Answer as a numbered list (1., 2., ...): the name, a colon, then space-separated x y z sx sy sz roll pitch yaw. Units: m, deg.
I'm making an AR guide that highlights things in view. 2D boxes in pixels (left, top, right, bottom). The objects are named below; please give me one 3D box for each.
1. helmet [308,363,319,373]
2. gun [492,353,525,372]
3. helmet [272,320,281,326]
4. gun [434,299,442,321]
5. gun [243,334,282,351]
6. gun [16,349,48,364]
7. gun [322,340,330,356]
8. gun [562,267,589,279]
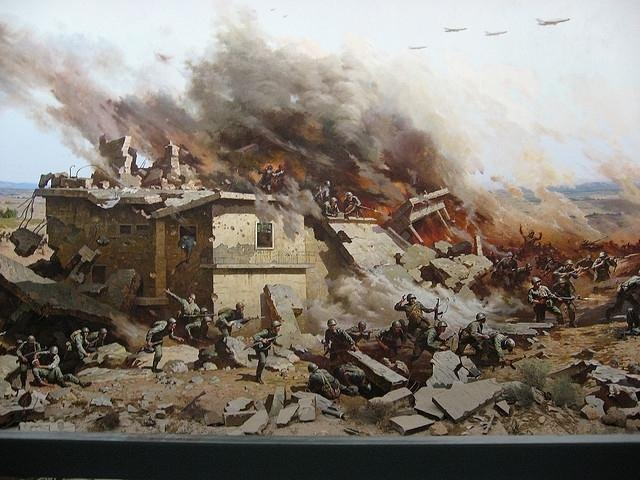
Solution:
1. helmet: -0.122 2.304 8.834 0.146 0.147 0.182 -1 18 8
2. gun: 3.477 2.251 9.010 0.405 0.131 0.297 -15 7 -2
3. helmet: -0.796 1.532 9.024 0.086 0.085 0.104 19 -49 -8
4. gun: 2.273 1.324 9.406 0.120 0.325 0.194 7 -14 -6
5. gun: -1.098 1.917 9.122 0.608 0.246 0.458 0 -6 8
6. gun: -5.094 2.073 8.730 0.506 0.264 0.090 1 -6 -6
7. gun: 0.119 2.016 9.231 0.181 0.234 0.089 1 -8 6
8. gun: 4.959 0.648 9.568 0.402 0.258 0.115 16 -47 -15
